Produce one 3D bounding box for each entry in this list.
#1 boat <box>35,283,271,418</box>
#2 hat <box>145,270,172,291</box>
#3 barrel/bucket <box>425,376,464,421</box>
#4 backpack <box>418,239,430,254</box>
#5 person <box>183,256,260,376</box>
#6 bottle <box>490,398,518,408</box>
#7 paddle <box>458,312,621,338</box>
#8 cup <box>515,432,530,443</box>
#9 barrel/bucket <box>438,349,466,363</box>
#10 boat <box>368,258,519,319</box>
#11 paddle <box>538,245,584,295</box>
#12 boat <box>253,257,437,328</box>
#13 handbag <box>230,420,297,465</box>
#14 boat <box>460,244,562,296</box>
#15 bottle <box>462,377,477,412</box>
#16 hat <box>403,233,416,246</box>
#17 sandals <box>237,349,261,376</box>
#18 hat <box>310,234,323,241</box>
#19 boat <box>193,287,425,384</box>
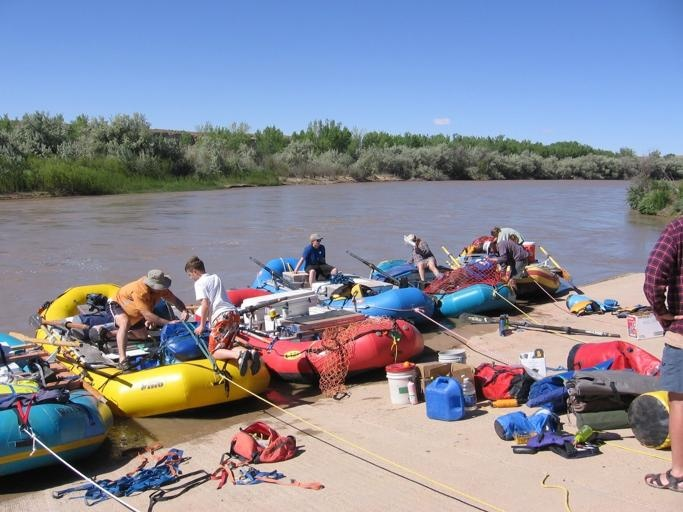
[{"bbox_3d":[-2.963,1.254,9.200,2.312,0.629,3.787,-23,27,-38],"label":"boat"},{"bbox_3d":[-2.637,0.344,8.363,0.370,0.093,0.343,-7,27,-36],"label":"hat"},{"bbox_3d":[1.246,1.703,7.151,0.485,0.457,0.375,-8,8,5],"label":"barrel/bucket"},{"bbox_3d":[1.892,-0.185,13.705,0.352,0.114,0.337,36,17,5],"label":"backpack"},{"bbox_3d":[-1.651,0.802,8.019,0.717,1.627,1.213,-14,9,-14],"label":"person"},{"bbox_3d":[1.952,1.779,7.229,0.466,0.100,0.093,-2,-28,0],"label":"bottle"},{"bbox_3d":[3.755,1.288,11.072,2.158,0.177,0.307,2,-21,13],"label":"paddle"},{"bbox_3d":[1.950,1.926,6.303,0.145,0.077,0.131,-4,7,23],"label":"cup"},{"bbox_3d":[1.519,1.347,8.032,0.298,0.156,0.256,-2,-3,0],"label":"barrel/bucket"},{"bbox_3d":[2.062,0.665,12.679,2.386,0.475,1.406,6,11,40],"label":"boat"},{"bbox_3d":[6.057,0.391,16.227,0.325,1.860,0.318,-50,1,-27],"label":"paddle"},{"bbox_3d":[-0.147,0.701,11.731,3.123,0.593,1.567,5,9,36],"label":"boat"},{"bbox_3d":[-0.925,2.037,6.547,0.822,0.241,0.575,0,8,-36],"label":"handbag"},{"bbox_3d":[4.665,0.346,14.490,1.682,0.728,2.040,-18,9,-3],"label":"boat"},{"bbox_3d":[1.608,1.689,7.396,0.132,0.352,0.362,-9,7,14],"label":"bottle"},{"bbox_3d":[1.666,-0.412,13.844,0.170,0.319,0.296,0,-16,-45],"label":"hat"},{"bbox_3d":[-1.215,1.384,7.662,0.314,0.309,0.149,-10,17,-39],"label":"sandals"},{"bbox_3d":[-0.543,-0.420,13.066,0.430,0.155,0.475,0,0,-1],"label":"hat"},{"bbox_3d":[-0.209,1.383,9.206,3.107,0.445,1.562,-6,9,-27],"label":"boat"}]
